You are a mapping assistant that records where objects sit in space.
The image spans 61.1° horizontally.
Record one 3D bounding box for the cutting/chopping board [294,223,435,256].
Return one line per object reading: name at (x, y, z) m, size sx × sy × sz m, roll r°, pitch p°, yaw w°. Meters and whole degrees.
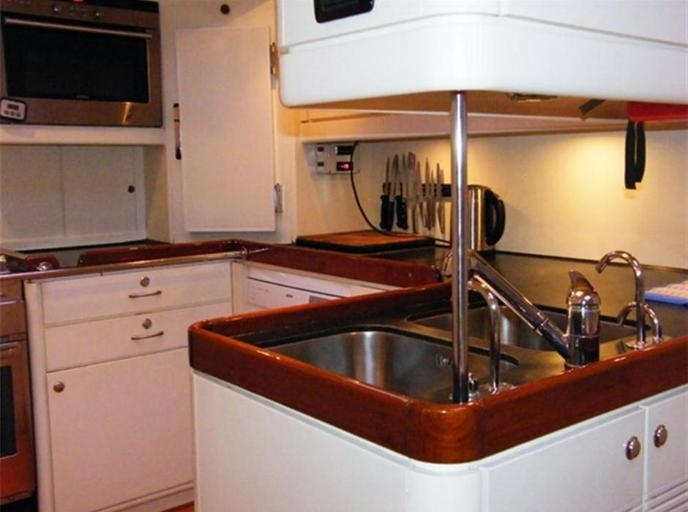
cutting/chopping board at (0.083, -0.084, 2.854) m, size 0.544 × 0.078 × 0.594 m, roll -14°, pitch 17°, yaw -36°
